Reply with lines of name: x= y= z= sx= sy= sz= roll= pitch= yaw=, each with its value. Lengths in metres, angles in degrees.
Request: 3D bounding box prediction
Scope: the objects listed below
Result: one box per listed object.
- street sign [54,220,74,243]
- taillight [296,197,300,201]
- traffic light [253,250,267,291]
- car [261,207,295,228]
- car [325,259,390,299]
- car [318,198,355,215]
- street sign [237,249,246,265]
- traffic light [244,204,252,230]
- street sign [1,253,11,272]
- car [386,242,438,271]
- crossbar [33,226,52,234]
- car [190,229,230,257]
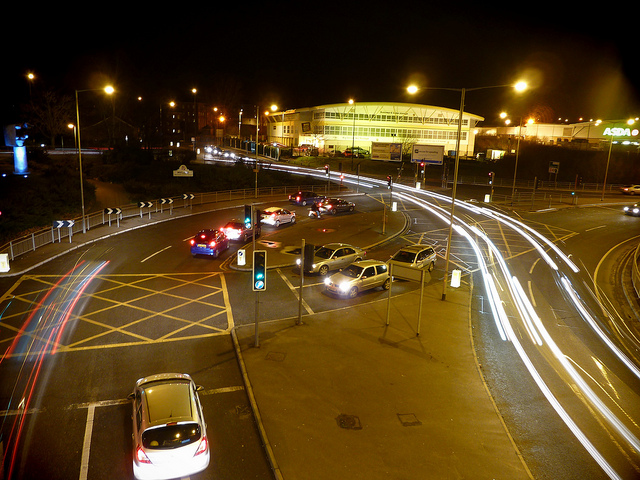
street sign: x=-17.641 y=-0.551 z=35.695 sx=1.321 sy=1.680 sz=0.499 roll=0 pitch=-5 yaw=-21
taillight: x=-2.231 y=-4.232 z=53.434 sx=0.364 sy=0.391 sz=0.093 roll=9 pitch=5 yaw=22
traffic light: x=-2.502 y=1.516 z=21.531 sx=0.515 sy=0.365 sz=1.488 roll=5 pitch=56 yaw=-13
car: x=-3.540 y=-1.888 z=43.423 sx=1.361 sy=1.097 sz=2.326 roll=15 pitch=25 yaw=39
car: x=2.162 y=2.205 z=28.994 sx=3.610 sy=1.574 sz=1.658 roll=-12 pitch=20 yaw=-36
car: x=1.405 y=-3.189 z=50.359 sx=4.220 sy=1.300 sz=0.984 roll=-9 pitch=17 yaw=-39
street sign: x=-4.889 y=1.114 z=32.335 sx=0.443 sy=0.984 sz=0.667 roll=1 pitch=13 yaw=-5
traffic light: x=-3.212 y=-1.015 z=23.545 sx=0.281 sy=1.217 sz=0.909 roll=0 pitch=13 yaw=-7
street sign: x=-17.694 y=1.300 z=29.178 sx=0.376 sy=1.025 sz=0.433 roll=12 pitch=16 yaw=37
car: x=6.067 y=1.053 z=32.246 sx=1.583 sy=1.490 sz=3.215 roll=10 pitch=12 yaw=42
crossbar: x=-19.441 y=-0.678 z=36.380 sx=0.087 sy=0.097 sz=1.233 roll=23 pitch=32 yaw=23
car: x=-7.115 y=0.075 z=34.676 sx=1.204 sy=1.160 sz=2.524 roll=4 pitch=20 yaw=9
